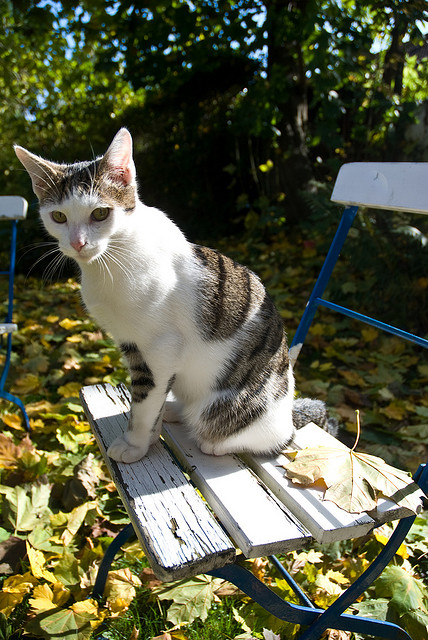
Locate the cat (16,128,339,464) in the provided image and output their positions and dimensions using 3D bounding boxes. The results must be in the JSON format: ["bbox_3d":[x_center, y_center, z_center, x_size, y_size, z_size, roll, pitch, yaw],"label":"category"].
[{"bbox_3d":[-0.058,-0.031,1.784,1.078,0.931,0.430,1,5,-25],"label":"cat"}]

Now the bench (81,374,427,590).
[{"bbox_3d":[0.024,0.408,1.546,0.609,0.283,0.885,-1,21,-25],"label":"bench"}]
